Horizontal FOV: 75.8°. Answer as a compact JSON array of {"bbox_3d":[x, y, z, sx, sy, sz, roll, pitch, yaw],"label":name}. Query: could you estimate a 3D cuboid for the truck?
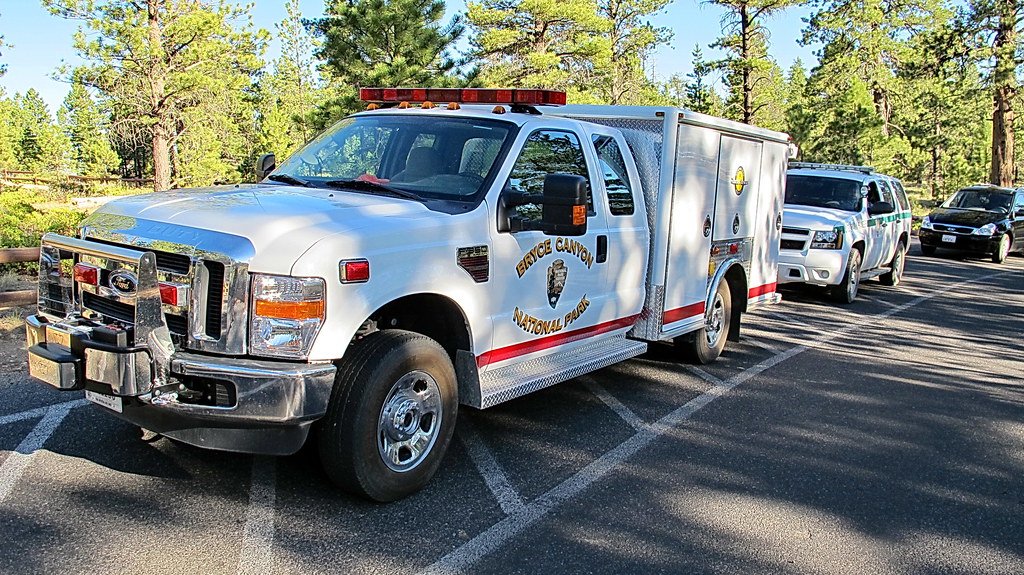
[{"bbox_3d":[-0.075,-0.450,8.386,4.097,2.982,8.610,5,6,43],"label":"truck"}]
